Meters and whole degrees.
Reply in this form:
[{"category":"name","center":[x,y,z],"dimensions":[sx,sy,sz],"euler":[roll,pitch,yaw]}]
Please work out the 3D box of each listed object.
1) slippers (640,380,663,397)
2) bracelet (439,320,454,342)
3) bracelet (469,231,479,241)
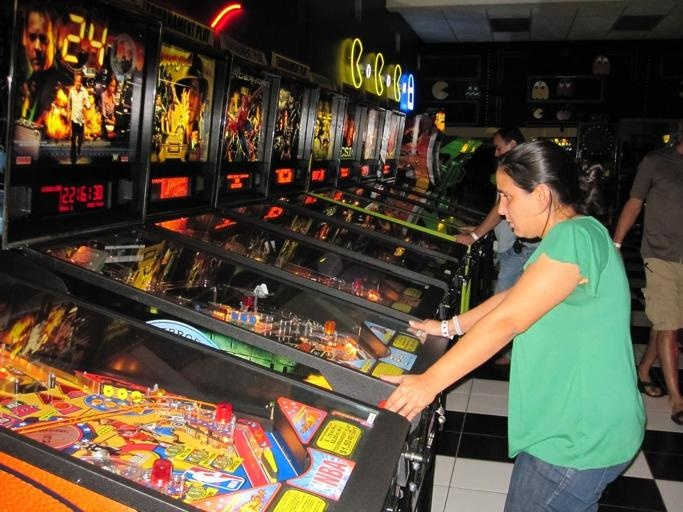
[{"category":"slippers","center":[2.341,1.018,3.321],"dimensions":[0.124,0.032,0.117],"euler":[-16,24,-14]},{"category":"bracelet","center":[0.365,0.262,1.542],"dimensions":[0.076,0.065,0.050],"euler":[4,-6,-30]},{"category":"bracelet","center":[1.017,-0.159,3.365],"dimensions":[0.054,0.062,0.067],"euler":[-17,-15,11]}]
